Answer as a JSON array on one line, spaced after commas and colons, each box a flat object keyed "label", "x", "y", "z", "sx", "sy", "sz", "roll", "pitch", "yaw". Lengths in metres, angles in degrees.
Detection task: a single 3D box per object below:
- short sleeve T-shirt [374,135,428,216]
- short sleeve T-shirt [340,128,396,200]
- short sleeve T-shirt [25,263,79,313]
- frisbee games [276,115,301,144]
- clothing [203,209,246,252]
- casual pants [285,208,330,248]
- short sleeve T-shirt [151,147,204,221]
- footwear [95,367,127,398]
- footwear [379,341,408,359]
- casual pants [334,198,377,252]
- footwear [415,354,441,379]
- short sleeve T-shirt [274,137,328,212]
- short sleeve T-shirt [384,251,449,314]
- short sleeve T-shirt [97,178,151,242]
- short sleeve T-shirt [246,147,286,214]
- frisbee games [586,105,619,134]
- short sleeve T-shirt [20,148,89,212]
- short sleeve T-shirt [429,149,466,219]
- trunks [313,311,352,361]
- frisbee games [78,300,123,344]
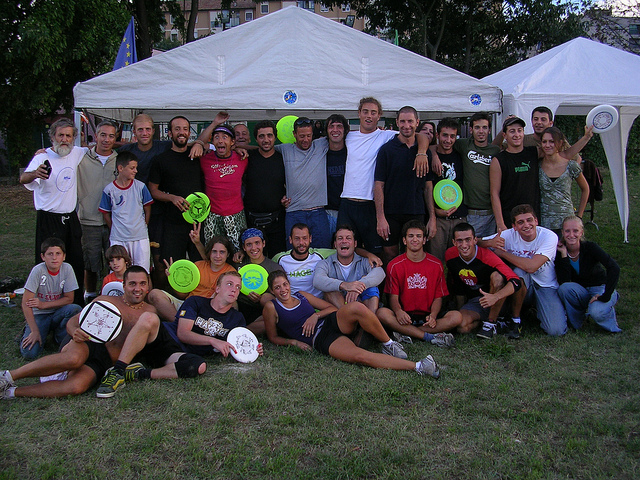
[{"label": "short sleeve T-shirt", "x": 1.049, "y": -0.837, "z": 6.740, "sx": 0.843, "sy": 1.111, "sz": 0.537, "roll": -3, "pitch": 8, "yaw": -11}, {"label": "short sleeve T-shirt", "x": 0.616, "y": -1.040, "z": 6.993, "sx": 0.924, "sy": 0.998, "sz": 0.353, "roll": 4, "pitch": -3, "yaw": 42}, {"label": "short sleeve T-shirt", "x": -3.180, "y": 0.577, "z": 6.160, "sx": 0.513, "sy": 0.491, "sz": 0.225, "roll": 1, "pitch": 5, "yaw": -32}, {"label": "frisbee games", "x": -0.476, "y": -1.661, "z": 7.792, "sx": 0.398, "sy": 0.454, "sz": 0.097, "roll": 4, "pitch": -3, "yaw": 14}, {"label": "clothing", "x": -1.257, "y": -0.189, "z": 7.168, "sx": 0.708, "sy": 0.762, "sz": 0.424, "roll": 0, "pitch": 1, "yaw": -3}, {"label": "casual pants", "x": -0.133, "y": -0.202, "z": 7.272, "sx": 0.712, "sy": 0.852, "sz": 0.461, "roll": -2, "pitch": 4, "yaw": -4}, {"label": "short sleeve T-shirt", "x": -1.886, "y": -0.741, "z": 6.880, "sx": 0.771, "sy": 0.941, "sz": 0.449, "roll": -7, "pitch": 13, "yaw": -37}, {"label": "footwear", "x": -2.040, "y": 1.380, "z": 5.069, "sx": 0.204, "sy": 0.239, "sz": 0.287, "roll": 2, "pitch": 4, "yaw": -3}, {"label": "footwear", "x": 0.824, "y": 1.221, "z": 5.806, "sx": 0.305, "sy": 0.133, "sz": 0.132, "roll": 11, "pitch": 24, "yaw": 35}, {"label": "casual pants", "x": 0.484, "y": -0.196, "z": 6.741, "sx": 0.586, "sy": 0.842, "sz": 0.313, "roll": 1, "pitch": 7, "yaw": 5}, {"label": "footwear", "x": 1.113, "y": 1.306, "z": 5.351, "sx": 0.144, "sy": 0.131, "sz": 0.325, "roll": -17, "pitch": 23, "yaw": -11}, {"label": "short sleeve T-shirt", "x": -0.153, "y": -0.913, "z": 7.336, "sx": 0.971, "sy": 1.379, "sz": 0.713, "roll": -1, "pitch": 7, "yaw": -6}, {"label": "short sleeve T-shirt", "x": 1.192, "y": 0.528, "z": 6.467, "sx": 0.687, "sy": 0.694, "sz": 0.265, "roll": -1, "pitch": 7, "yaw": 1}, {"label": "short sleeve T-shirt", "x": -2.504, "y": -0.401, "z": 6.751, "sx": 0.647, "sy": 0.829, "sz": 0.295, "roll": -9, "pitch": 29, "yaw": -27}, {"label": "short sleeve T-shirt", "x": -0.739, "y": -0.839, "z": 7.097, "sx": 0.720, "sy": 1.103, "sz": 0.543, "roll": -1, "pitch": 10, "yaw": -9}, {"label": "frisbee games", "x": 3.900, "y": -1.696, "z": 7.199, "sx": 0.391, "sy": 0.419, "sz": 0.109, "roll": 24, "pitch": 26, "yaw": -6}, {"label": "short sleeve T-shirt", "x": -3.352, "y": -0.727, "z": 6.710, "sx": 0.657, "sy": 0.708, "sz": 0.918, "roll": 3, "pitch": 8, "yaw": 37}, {"label": "short sleeve T-shirt", "x": 1.811, "y": -0.779, "z": 7.291, "sx": 0.470, "sy": 0.930, "sz": 0.210, "roll": -3, "pitch": -3, "yaw": -14}, {"label": "trunks", "x": 0.075, "y": 1.070, "z": 5.898, "sx": 0.136, "sy": 0.462, "sz": 0.416, "roll": 38, "pitch": -45, "yaw": -25}, {"label": "frisbee games", "x": -2.190, "y": 0.829, "z": 5.194, "sx": 0.396, "sy": 0.429, "sz": 0.151, "roll": 0, "pitch": 4, "yaw": -24}]
